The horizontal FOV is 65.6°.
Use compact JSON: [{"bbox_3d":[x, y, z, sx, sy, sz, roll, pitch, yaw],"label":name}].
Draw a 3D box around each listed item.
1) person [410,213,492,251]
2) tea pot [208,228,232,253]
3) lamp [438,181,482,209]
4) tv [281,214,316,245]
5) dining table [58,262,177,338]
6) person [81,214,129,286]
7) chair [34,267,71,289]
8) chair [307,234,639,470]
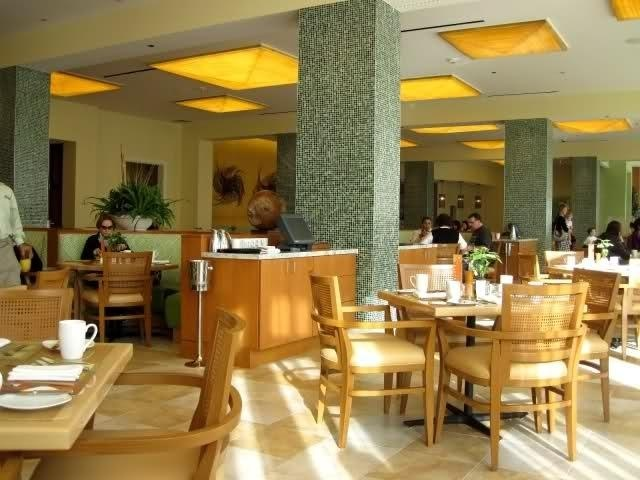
[{"bbox_3d":[2.406,-0.101,8.881,1.560,0.698,0.734,2,-2,-2],"label":"person"},{"bbox_3d":[-1.053,0.004,5.266,0.240,0.226,0.355,0,2,-11],"label":"tea pot"},{"bbox_3d":[6.852,-2.105,24.095,3.048,1.269,0.623,-2,4,-43],"label":"lamp"},{"bbox_3d":[-0.254,-0.113,5.675,0.240,0.349,0.368,3,4,39],"label":"tv"},{"bbox_3d":[-2.678,0.671,6.111,1.062,0.552,0.968,1,1,7],"label":"dining table"},{"bbox_3d":[-2.927,0.121,6.723,0.561,0.839,0.679,19,18,36],"label":"person"},{"bbox_3d":[-1.988,0.297,3.696,0.214,0.155,0.419,-1,2,-24],"label":"chair"},{"bbox_3d":[1.105,0.798,3.439,1.523,1.134,1.061,2,3,26],"label":"chair"}]
